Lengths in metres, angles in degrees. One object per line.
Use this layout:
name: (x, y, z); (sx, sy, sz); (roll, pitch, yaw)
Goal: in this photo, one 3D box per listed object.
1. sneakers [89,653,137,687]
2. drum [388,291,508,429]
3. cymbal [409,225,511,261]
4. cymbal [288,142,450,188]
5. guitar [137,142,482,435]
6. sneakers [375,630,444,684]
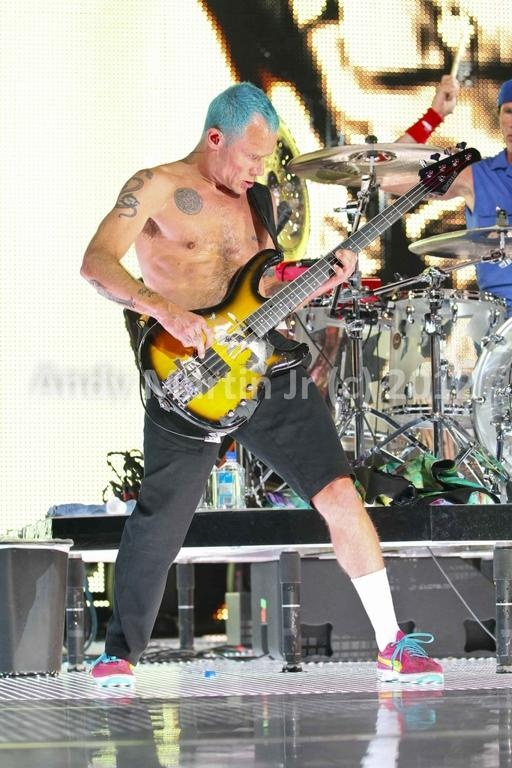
sneakers: (-0.343, 0.707, 2.417); (0.054, 0.055, 0.137); (16, -10, -36)
drum: (0.742, -0.122, 4.409); (0.656, 0.485, 0.585); (0, -4, 6)
cymbal: (0.838, -0.599, 4.087); (0.434, 0.082, 0.384); (2, -5, -3)
cymbal: (0.467, -0.962, 4.157); (0.622, 0.114, 0.562); (2, 1, 12)
guitar: (0.101, -0.229, 2.549); (0.836, 0.723, 0.223); (1, -7, -30)
sneakers: (0.361, 0.683, 2.421); (0.098, 0.084, 0.209); (6, -20, -23)
